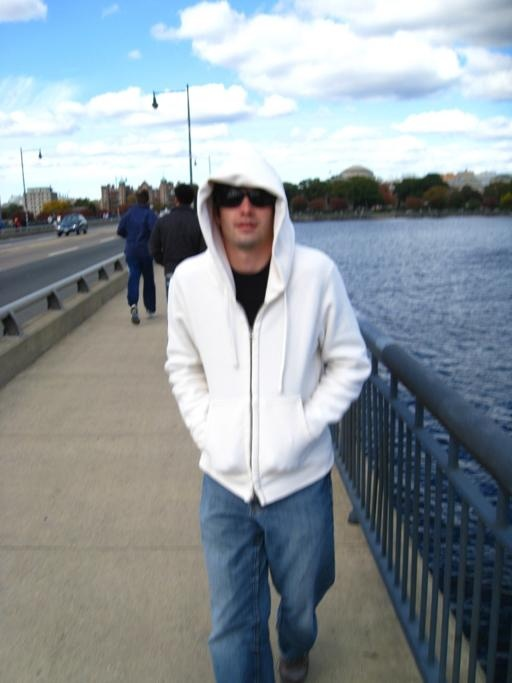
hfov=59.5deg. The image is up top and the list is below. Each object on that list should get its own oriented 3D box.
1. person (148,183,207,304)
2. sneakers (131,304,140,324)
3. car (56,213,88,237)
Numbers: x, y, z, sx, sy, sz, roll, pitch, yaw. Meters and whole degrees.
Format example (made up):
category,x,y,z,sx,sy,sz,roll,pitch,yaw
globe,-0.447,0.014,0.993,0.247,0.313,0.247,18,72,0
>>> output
category,x,y,z,sx,sy,sz,roll,pitch,yaw
person,-1.403,-1.422,7.540,0.642,2.606,0.669,-2,36,-23
sneakers,-2.378,-0.441,8.814,0.112,0.532,0.177,0,16,1
car,-20.788,-13.163,50.691,2.149,3.107,5.556,-1,7,-7
